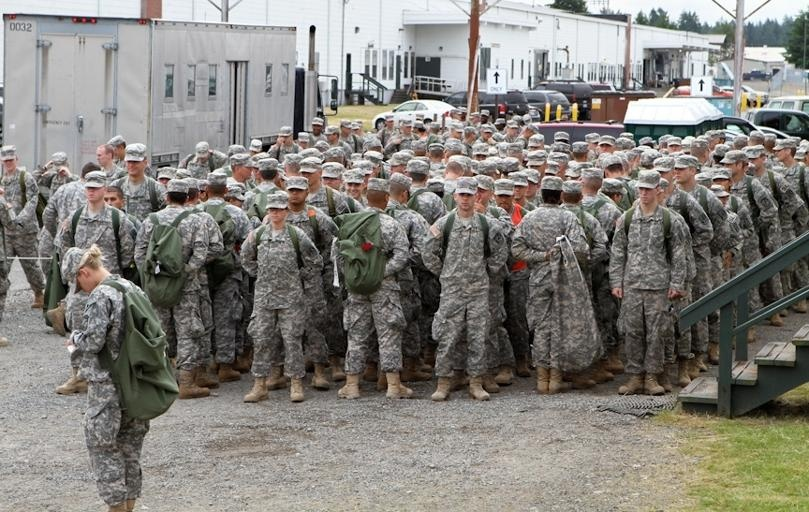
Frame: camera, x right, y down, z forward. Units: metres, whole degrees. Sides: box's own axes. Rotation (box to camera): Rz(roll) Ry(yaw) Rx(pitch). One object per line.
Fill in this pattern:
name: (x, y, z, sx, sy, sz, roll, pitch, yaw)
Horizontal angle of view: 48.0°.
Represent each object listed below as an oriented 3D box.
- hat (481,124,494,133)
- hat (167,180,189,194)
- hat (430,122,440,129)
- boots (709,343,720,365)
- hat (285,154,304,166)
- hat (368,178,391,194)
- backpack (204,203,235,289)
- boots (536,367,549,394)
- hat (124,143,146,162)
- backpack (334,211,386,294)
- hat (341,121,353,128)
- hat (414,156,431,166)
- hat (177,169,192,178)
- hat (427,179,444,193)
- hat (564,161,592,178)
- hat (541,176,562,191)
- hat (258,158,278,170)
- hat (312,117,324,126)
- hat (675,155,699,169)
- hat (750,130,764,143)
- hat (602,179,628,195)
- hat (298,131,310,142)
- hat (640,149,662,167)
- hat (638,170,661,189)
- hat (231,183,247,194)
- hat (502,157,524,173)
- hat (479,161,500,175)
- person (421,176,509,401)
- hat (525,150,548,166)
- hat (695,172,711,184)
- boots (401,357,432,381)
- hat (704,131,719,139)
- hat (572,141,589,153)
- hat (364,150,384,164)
hat: (1.955, -2.961, 21.207, 0.371, 0.162, 0.499, 2, 2, 0)
hat: (-2.862, -0.873, 11.510, 0.184, 0.110, 0.186, 4, 5, 32)
hat: (0.795, -3.253, 22.697, 0.271, 0.141, 0.264, 1, 5, -3)
boots: (4.422, 1.399, 12.981, 0.103, 0.266, 0.157, 0, 12, 6)
hat: (-1.564, -1.358, 12.935, 0.276, 0.130, 0.363, 1, 3, -5)
hat: (-0.297, -0.894, 11.628, 0.212, 0.122, 0.205, 5, 4, -37)
backpack: (-2.435, -0.120, 12.089, 0.414, 1.110, 0.639, -4, 12, -11)
boots: (1.803, 1.609, 11.768, 0.179, 0.341, 0.123, 4, 13, 25)
hat: (-3.809, -1.468, 12.971, 0.254, 0.174, 0.329, 0, 0, 0)
backpack: (-0.570, -0.051, 11.371, 0.752, 0.949, 0.427, 0, -4, 30)
hat: (-1.414, -3.187, 22.013, 0.202, 0.123, 0.258, 0, 2, -32)
hat: (0.262, -1.327, 12.731, 0.177, 0.056, 0.127, 9, 1, -4)
hat: (-3.334, -1.234, 13.720, 0.245, 0.148, 0.253, 1, 5, -14)
hat: (0.441, -0.963, 12.637, 0.218, 0.146, 0.291, 0, 1, 2)
hat: (2.464, -1.202, 12.753, 0.321, 0.144, 0.504, 1, 8, 17)
hat: (1.921, -0.930, 11.773, 0.266, 0.187, 0.189, 1, 12, 7)
hat: (-1.963, -1.318, 13.105, 0.274, 0.167, 0.394, -3, 12, -8)
hat: (-2.068, -3.219, 21.835, 0.251, 0.116, 0.342, 4, 4, 2)
hat: (3.898, -1.288, 12.499, 0.401, 0.177, 0.251, -10, 15, -34)
hat: (6.614, -2.213, 17.007, 0.262, 0.289, 0.320, 3, 11, 8)
hat: (2.944, -0.957, 12.622, 0.283, 0.130, 0.201, -8, 14, -38)
hat: (-2.097, -2.516, 19.016, 0.267, 0.178, 0.336, 2, 1, -5)
hat: (3.891, -1.533, 14.396, 0.341, 0.347, 0.461, 0, -1, 6)
hat: (3.053, -0.940, 11.320, 0.254, 0.218, 0.222, 2, 12, 12)
hat: (-2.330, -0.945, 12.762, 0.215, 0.087, 0.297, 2, 1, -2)
hat: (1.690, -1.415, 14.187, 0.429, 0.169, 0.602, 2, 17, 4)
hat: (1.264, -1.277, 13.387, 0.217, 0.130, 0.273, 6, 13, 21)
person: (0.769, 0.439, 11.532, 0.999, 2.835, 0.602, -1, 12, 0)
hat: (2.081, -1.501, 14.156, 0.281, 0.248, 0.334, 1, 12, 9)
hat: (4.287, -1.097, 13.022, 0.316, 0.161, 0.187, -11, 16, -39)
boots: (0.106, 1.586, 12.679, 0.584, 0.390, 0.196, -2, 5, -14)
hat: (6.210, -2.446, 18.291, 0.364, 0.150, 0.460, 0, 6, 8)
hat: (2.919, -1.777, 14.975, 0.222, 0.146, 0.285, 0, -5, 11)
hat: (-0.486, -1.548, 14.227, 0.217, 0.148, 0.274, 2, 0, 7)
